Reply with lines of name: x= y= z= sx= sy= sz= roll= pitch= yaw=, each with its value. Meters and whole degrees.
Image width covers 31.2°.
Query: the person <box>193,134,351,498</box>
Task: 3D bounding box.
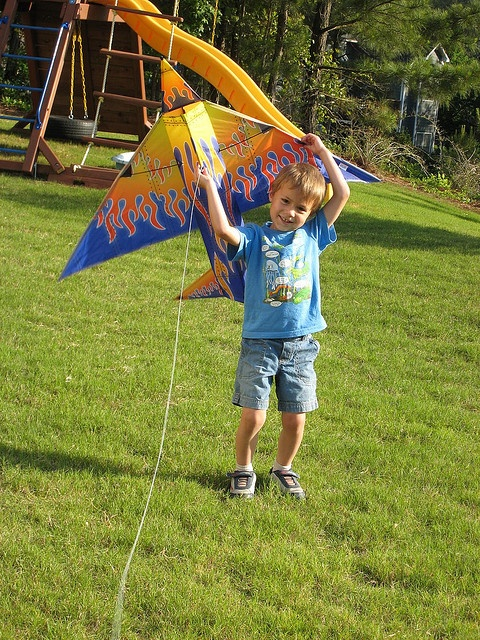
person: x=0.145 y=-0.040 z=3.830 sx=0.519 sy=1.530 sz=0.643 roll=1 pitch=3 yaw=2

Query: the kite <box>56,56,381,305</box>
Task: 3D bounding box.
kite: x=-0.229 y=-0.755 z=4.460 sx=1.362 sy=1.114 sz=1.242 roll=-6 pitch=26 yaw=-26
